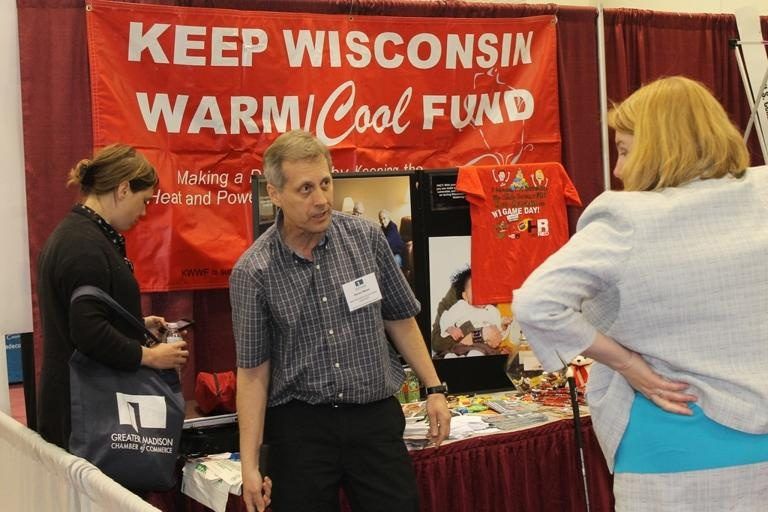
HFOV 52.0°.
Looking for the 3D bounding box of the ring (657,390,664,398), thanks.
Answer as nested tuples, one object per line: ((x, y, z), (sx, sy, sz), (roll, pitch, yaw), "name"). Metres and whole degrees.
((0.991, 0.491, 2.827), (0.017, 0.025, 0.008), (-9, -7, 15), "ring")
